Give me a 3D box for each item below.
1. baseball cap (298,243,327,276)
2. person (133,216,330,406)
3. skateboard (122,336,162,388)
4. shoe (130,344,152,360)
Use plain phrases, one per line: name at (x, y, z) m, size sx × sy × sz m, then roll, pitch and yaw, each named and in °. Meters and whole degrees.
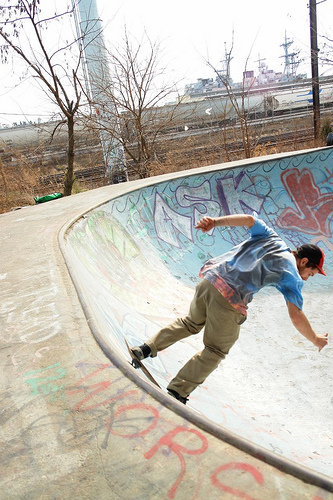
baseball cap at (0.959, 0.059, 2.337) m, size 0.122 × 0.215 × 0.131 m, roll -55°, pitch 10°, yaw 1°
person at (0.609, 0.629, 3.418) m, size 1.794 × 1.141 × 0.965 m, roll -37°, pitch 31°, yaw 0°
skateboard at (-0.194, 0.743, 2.332) m, size 0.092 × 0.125 × 0.544 m, roll -46°, pitch 30°, yaw 2°
shoe at (-0.180, 0.716, 2.417) m, size 0.149 × 0.083 × 0.083 m, roll -7°, pitch 17°, yaw -42°
